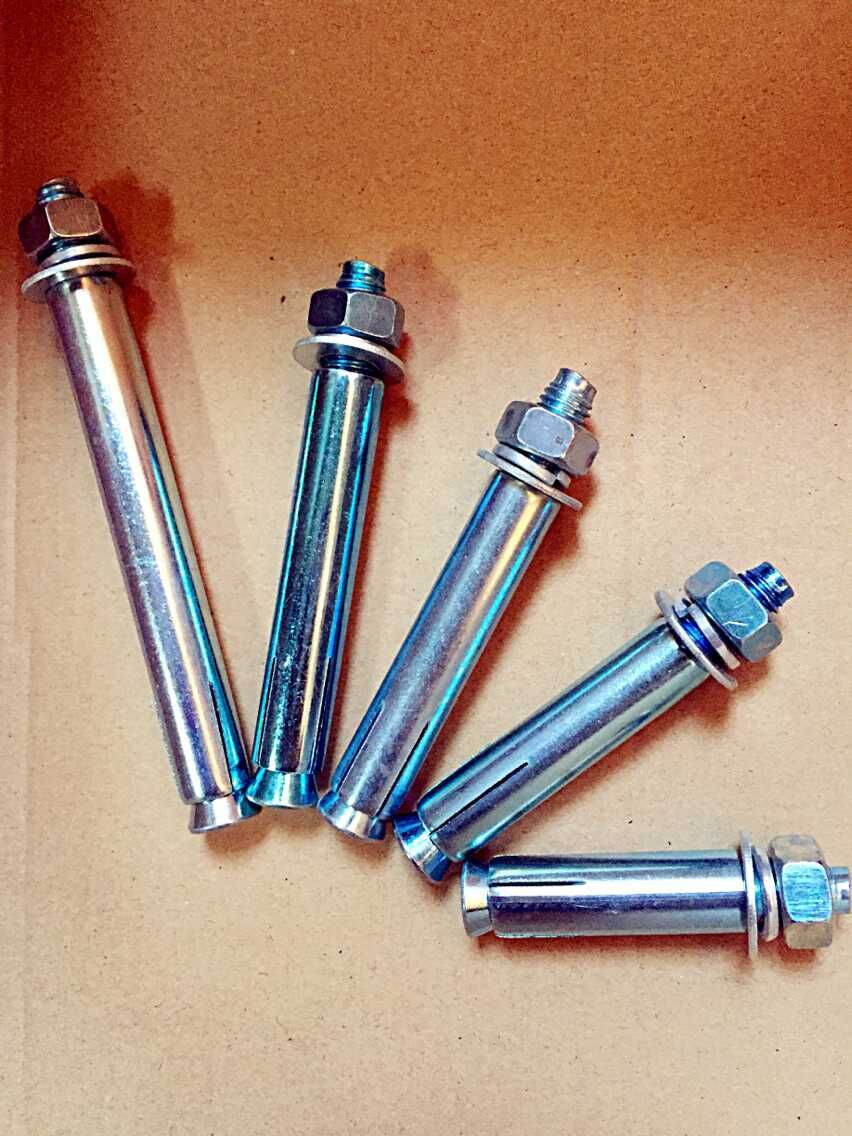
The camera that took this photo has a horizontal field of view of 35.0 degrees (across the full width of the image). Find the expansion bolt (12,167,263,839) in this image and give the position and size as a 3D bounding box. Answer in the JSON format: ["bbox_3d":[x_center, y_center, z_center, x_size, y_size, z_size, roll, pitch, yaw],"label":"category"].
[{"bbox_3d":[-0.345,-0.066,1.596,0.139,0.647,0.633,-13,44,-36],"label":"expansion bolt"}]
